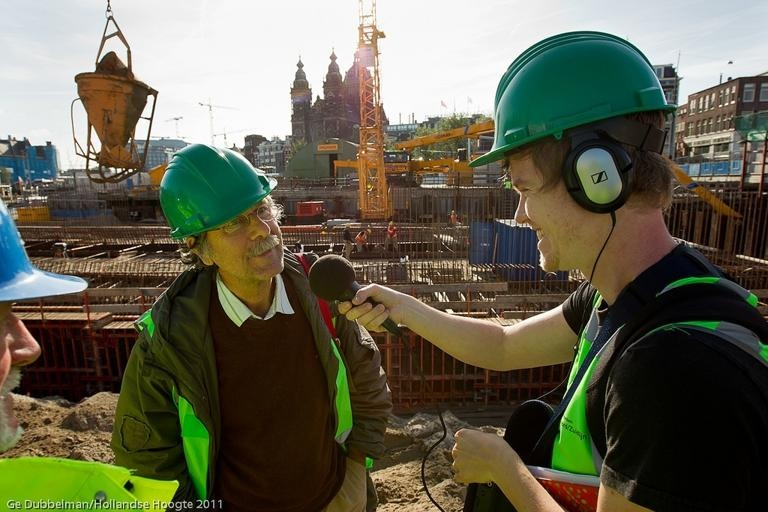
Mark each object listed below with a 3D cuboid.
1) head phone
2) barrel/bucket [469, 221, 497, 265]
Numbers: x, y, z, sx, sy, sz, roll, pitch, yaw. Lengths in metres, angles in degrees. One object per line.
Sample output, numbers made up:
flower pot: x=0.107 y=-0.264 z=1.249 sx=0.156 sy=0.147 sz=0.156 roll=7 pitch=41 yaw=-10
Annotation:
head phone: x=1.133 y=-0.455 z=3.329 sx=0.320 sy=0.470 sz=0.168 roll=-20 pitch=-3 yaw=13
barrel/bucket: x=2.450 y=-0.246 z=15.698 sx=0.739 sy=1.146 sz=0.731 roll=1 pitch=-10 yaw=0
